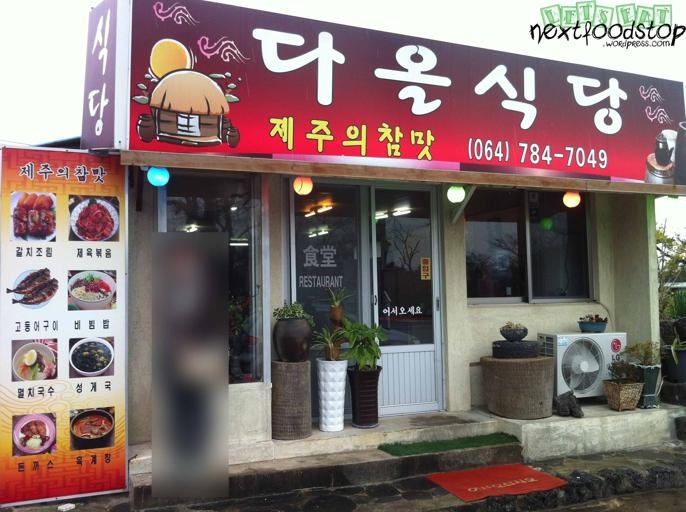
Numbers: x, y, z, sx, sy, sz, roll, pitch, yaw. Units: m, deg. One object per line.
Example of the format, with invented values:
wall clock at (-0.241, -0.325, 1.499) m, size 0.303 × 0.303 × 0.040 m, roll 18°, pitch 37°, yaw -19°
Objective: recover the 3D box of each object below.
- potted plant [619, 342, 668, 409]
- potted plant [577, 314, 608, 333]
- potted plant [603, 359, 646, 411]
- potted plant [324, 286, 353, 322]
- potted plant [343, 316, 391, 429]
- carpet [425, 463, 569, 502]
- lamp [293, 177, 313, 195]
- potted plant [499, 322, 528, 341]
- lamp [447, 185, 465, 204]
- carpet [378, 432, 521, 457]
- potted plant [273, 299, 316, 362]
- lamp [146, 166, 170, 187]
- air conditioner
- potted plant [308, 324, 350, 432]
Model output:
potted plant at (4.386, 1.756, 8.739) m, size 0.496 × 0.848 × 0.516 m, roll 18°, pitch -17°, yaw -40°
potted plant at (3.680, 1.006, 9.078) m, size 0.300 × 0.166 × 0.314 m, roll 0°, pitch -2°, yaw -2°
potted plant at (3.936, 1.861, 8.589) m, size 0.375 × 0.588 × 0.418 m, roll -1°, pitch -2°, yaw -12°
potted plant at (-0.064, 0.643, 7.954) m, size 0.316 × 0.472 × 0.573 m, roll -1°, pitch -3°, yaw -1°
potted plant at (0.259, 1.482, 7.685) m, size 0.508 × 1.335 × 0.307 m, roll -1°, pitch -3°, yaw -3°
carpet at (1.735, 2.559, 6.904) m, size 1.438 × 0.106 × 0.855 m, roll -1°, pitch -3°, yaw -15°
lamp at (-0.512, -0.861, 7.474) m, size 0.218 × 0.239 × 0.230 m, roll 13°, pitch 2°, yaw 30°
potted plant at (2.385, 1.070, 8.484) m, size 0.274 × 0.219 × 0.295 m, roll -1°, pitch -7°, yaw 10°
lamp at (1.495, -0.814, 8.059) m, size 0.226 × 0.231 × 0.235 m, roll 0°, pitch 11°, yaw 12°
carpet at (1.316, 2.309, 7.492) m, size 1.790 × 0.073 × 0.431 m, roll -1°, pitch -3°, yaw -18°
potted plant at (-0.617, 0.991, 7.412) m, size 0.419 × 0.554 × 0.447 m, roll -1°, pitch -1°, yaw 17°
lamp at (-2.047, -0.890, 6.786) m, size 0.203 × 0.223 × 0.247 m, roll 4°, pitch 9°, yaw 2°
air conditioner at (3.486, 1.568, 8.894) m, size 1.056 × 0.980 × 0.544 m, roll -1°, pitch 2°, yaw -9°
potted plant at (-0.160, 1.545, 7.733) m, size 0.400 × 1.265 × 0.539 m, roll -1°, pitch -3°, yaw -4°
